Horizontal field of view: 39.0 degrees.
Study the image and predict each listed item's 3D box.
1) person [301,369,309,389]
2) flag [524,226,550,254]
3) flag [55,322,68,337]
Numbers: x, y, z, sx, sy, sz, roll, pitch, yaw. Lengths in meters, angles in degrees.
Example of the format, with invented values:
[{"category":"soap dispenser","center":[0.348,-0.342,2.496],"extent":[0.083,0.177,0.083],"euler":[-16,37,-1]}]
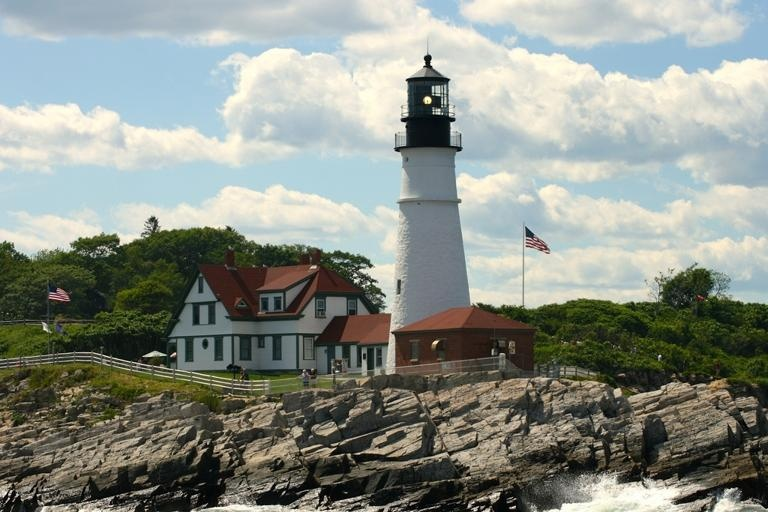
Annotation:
[{"category":"person","center":[-5.247,8.267,72.264],"extent":[0.497,0.761,1.047],"euler":[1,6,-5]},{"category":"flag","center":[8.956,-0.743,64.521],"extent":[2.261,2.556,0.211],"euler":[8,-49,4]},{"category":"flag","center":[-28.330,6.481,94.853],"extent":[0.123,1.317,1.448],"euler":[-44,-12,-33]}]
